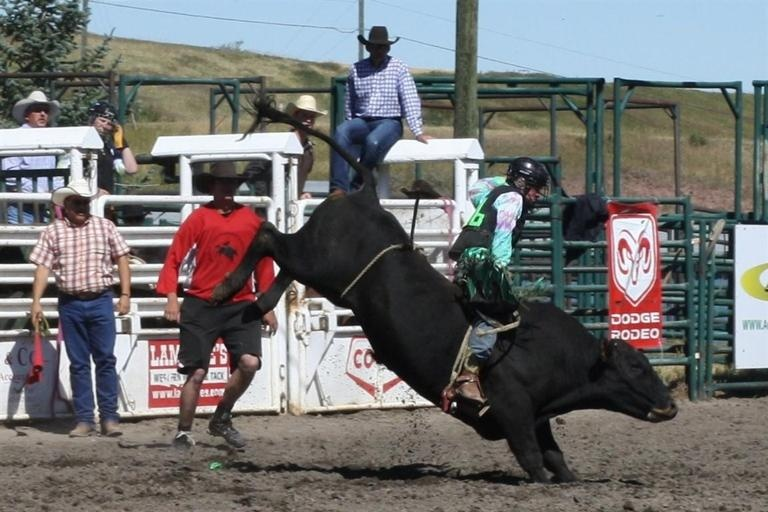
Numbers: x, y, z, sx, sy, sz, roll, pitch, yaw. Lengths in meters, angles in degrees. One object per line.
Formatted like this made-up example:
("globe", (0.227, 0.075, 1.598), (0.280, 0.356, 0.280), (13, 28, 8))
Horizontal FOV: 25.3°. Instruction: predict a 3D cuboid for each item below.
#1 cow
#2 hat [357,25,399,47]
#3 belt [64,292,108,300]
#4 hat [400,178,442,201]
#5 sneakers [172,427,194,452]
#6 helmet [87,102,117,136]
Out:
("cow", (0.683, 0.477, 22.592), (2.952, 6.917, 1.806), (-49, -3, -6))
("hat", (-0.140, -3.051, 23.692), (0.424, 0.212, 0.428), (-1, 0, 1))
("belt", (-3.863, 0.512, 22.123), (0.633, 0.105, 0.093), (-1, 0, -9))
("hat", (0.524, -0.880, 22.831), (0.420, 0.140, 0.401), (6, -3, 27))
("sneakers", (-2.509, 2.307, 21.645), (0.357, 0.192, 0.240), (-1, 0, -27))
("helmet", (-3.891, -1.921, 23.714), (0.382, 0.330, 0.504), (-1, 0, -15))
